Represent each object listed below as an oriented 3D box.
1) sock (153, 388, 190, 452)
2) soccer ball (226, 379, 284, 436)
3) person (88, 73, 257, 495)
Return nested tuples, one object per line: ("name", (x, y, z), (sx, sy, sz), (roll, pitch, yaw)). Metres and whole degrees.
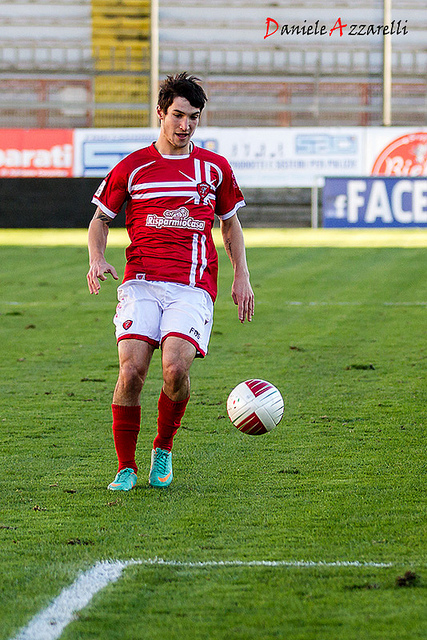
("sock", (-0.130, 0.439, 5.144), (0.091, 0.272, 0.095), (1, 37, -46))
("soccer ball", (0.185, 0.404, 5.402), (0.235, 0.252, 0.184), (1, 6, -2))
("person", (-0.168, -0.171, 5.112), (0.693, 1.713, 0.544), (0, 6, -6))
